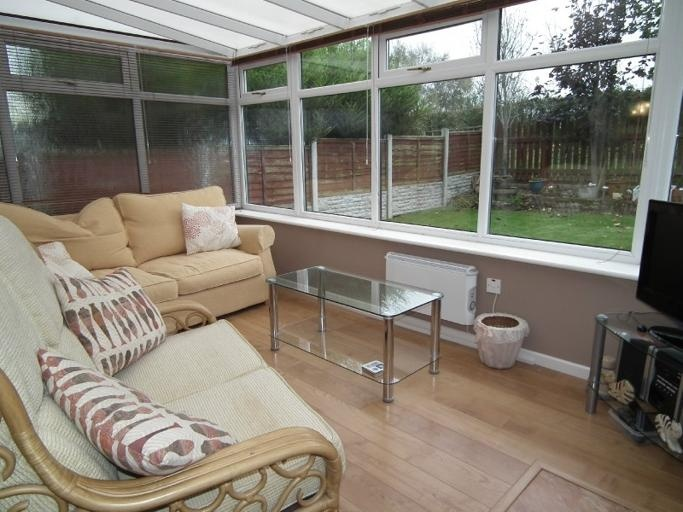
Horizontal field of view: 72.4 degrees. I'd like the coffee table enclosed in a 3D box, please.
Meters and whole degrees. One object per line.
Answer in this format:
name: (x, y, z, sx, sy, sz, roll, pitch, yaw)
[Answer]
coffee table: (0.061, 0.518, 3.498, 0.648, 0.581, 1.272, -18, 22, -41)
